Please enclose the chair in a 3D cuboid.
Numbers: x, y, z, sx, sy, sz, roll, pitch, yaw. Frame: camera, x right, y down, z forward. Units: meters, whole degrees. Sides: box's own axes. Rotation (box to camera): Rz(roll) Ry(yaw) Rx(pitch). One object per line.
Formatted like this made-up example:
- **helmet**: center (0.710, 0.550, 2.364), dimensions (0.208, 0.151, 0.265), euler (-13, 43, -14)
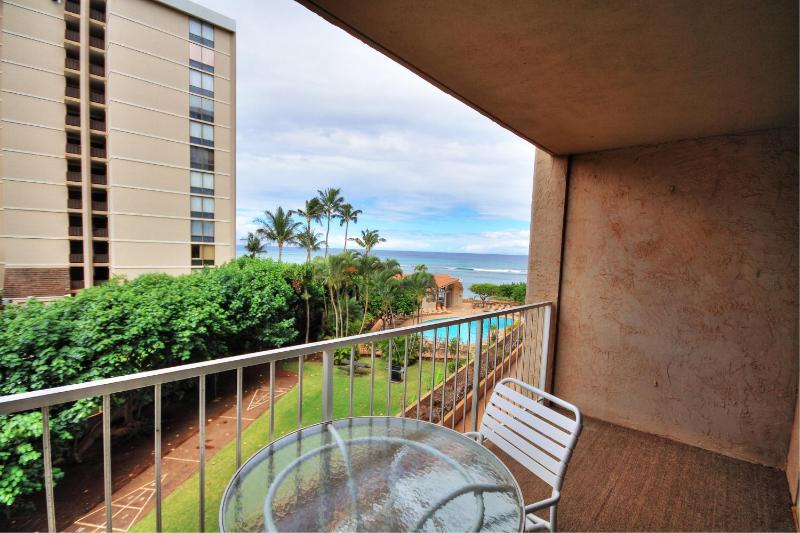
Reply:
- **chair**: center (0.948, 1.788, 5.144), dimensions (1.637, 2.017, 1.401), euler (5, 6, -34)
